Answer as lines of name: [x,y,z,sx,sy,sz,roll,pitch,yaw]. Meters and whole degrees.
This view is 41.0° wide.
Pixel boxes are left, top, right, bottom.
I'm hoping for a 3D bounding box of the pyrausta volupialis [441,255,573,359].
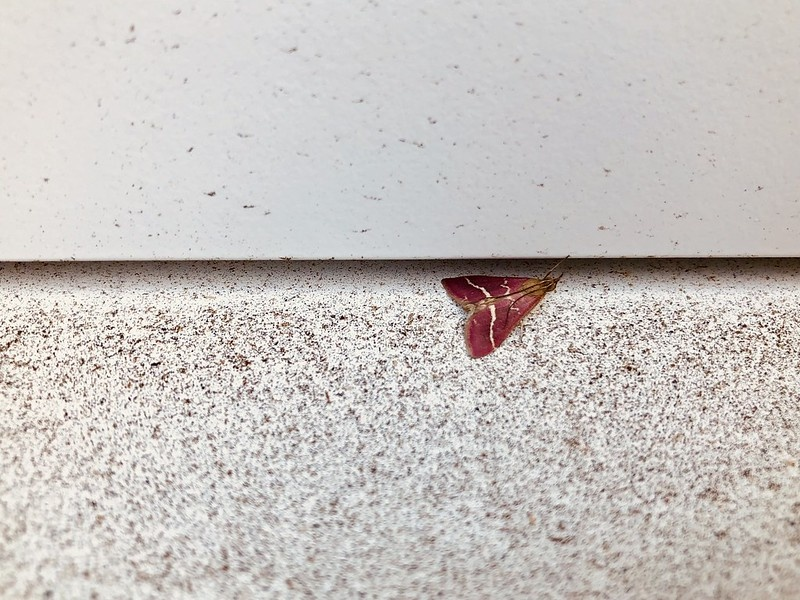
pyrausta volupialis: [0.230,-0.008,2.095,0.253,0.088,0.178,-17,67,5]
